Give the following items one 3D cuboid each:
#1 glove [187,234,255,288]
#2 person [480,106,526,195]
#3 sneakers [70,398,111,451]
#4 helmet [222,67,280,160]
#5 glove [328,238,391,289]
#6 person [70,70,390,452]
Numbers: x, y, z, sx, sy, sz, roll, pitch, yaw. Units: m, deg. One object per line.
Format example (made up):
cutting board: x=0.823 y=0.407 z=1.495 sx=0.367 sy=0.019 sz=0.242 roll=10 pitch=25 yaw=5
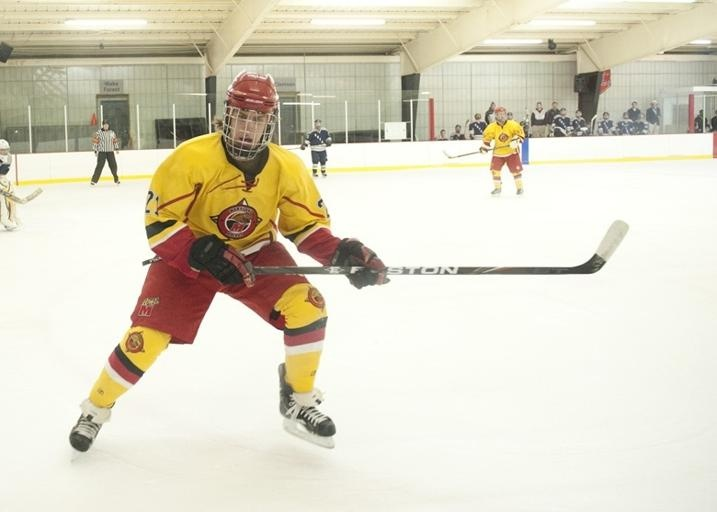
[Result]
glove: x=-0.456 y=0.022 z=2.223 sx=0.202 sy=0.128 sz=0.074 roll=35 pitch=-20 yaw=-16
person: x=1.962 y=-1.454 z=9.361 sx=0.614 sy=1.129 sz=1.673 roll=3 pitch=13 yaw=12
sneakers: x=-0.893 y=0.555 z=2.334 sx=0.091 sy=0.115 sz=0.198 roll=29 pitch=19 yaw=-15
helmet: x=-0.378 y=-0.481 z=2.329 sx=0.186 sy=0.293 sz=0.199 roll=-1 pitch=13 yaw=-7
glove: x=-0.001 y=0.013 z=2.401 sx=0.179 sy=0.180 sz=0.079 roll=17 pitch=42 yaw=40
person: x=-0.436 y=0.004 z=2.345 sx=1.052 sy=1.238 sz=0.413 roll=0 pitch=13 yaw=-3
